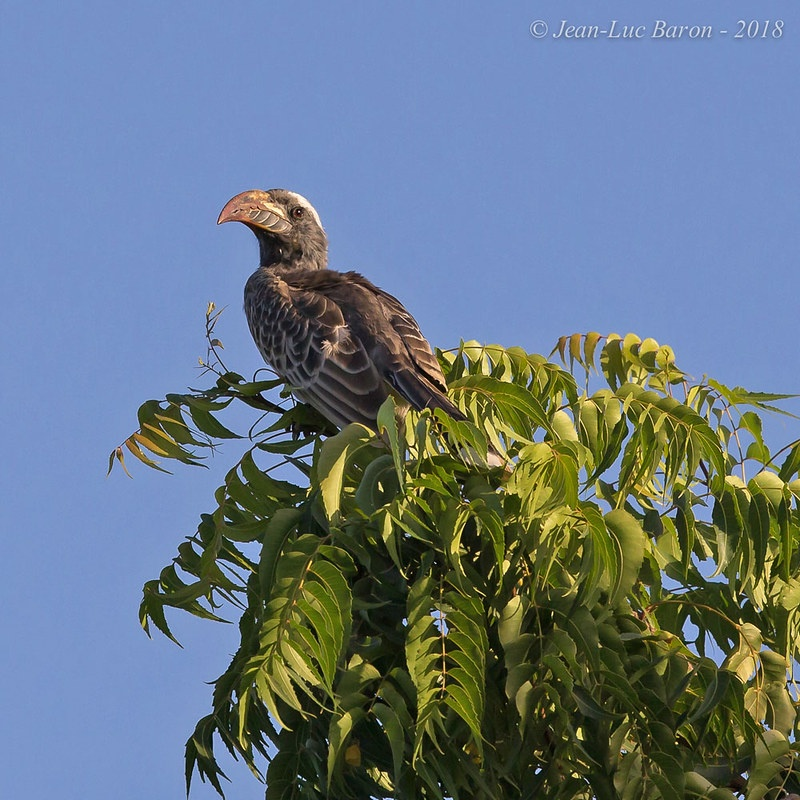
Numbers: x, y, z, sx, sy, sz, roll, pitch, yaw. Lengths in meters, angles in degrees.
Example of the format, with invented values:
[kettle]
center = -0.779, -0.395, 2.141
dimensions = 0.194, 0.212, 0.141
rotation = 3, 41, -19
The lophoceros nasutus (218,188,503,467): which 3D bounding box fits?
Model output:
[lophoceros nasutus]
center = -0.206, -0.269, 8.217
dimensions = 0.480, 1.037, 1.488
rotation = 3, 4, -38
